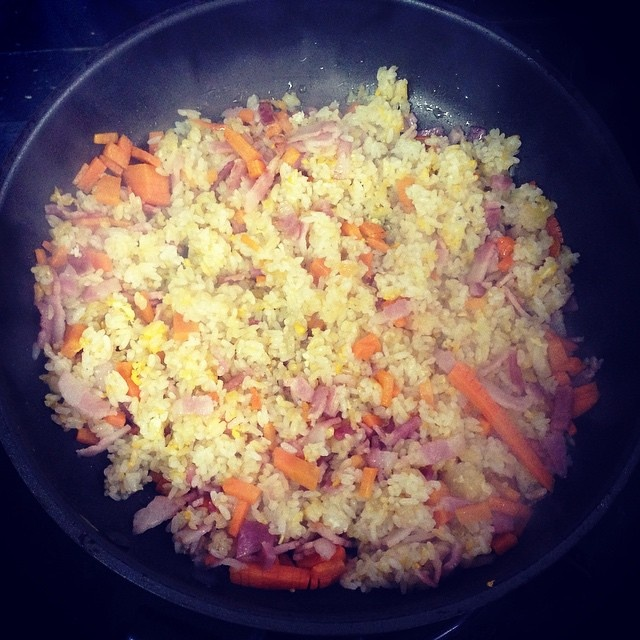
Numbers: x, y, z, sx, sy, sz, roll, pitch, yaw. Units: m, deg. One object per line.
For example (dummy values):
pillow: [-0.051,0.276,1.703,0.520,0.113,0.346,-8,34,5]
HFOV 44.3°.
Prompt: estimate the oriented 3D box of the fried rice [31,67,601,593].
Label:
fried rice: [-0.113,0.005,3.553,2.423,0.426,2.262,7,92,-15]
